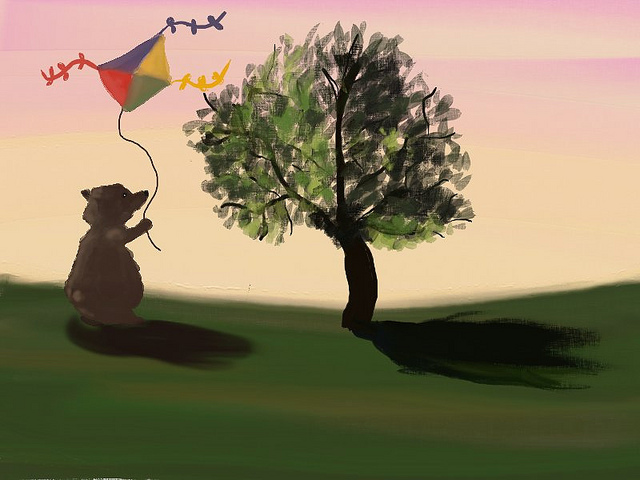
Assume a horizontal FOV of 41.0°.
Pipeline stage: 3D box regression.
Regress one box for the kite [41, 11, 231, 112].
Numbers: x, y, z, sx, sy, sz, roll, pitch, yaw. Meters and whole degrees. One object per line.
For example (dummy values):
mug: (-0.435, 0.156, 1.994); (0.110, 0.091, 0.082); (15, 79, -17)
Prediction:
kite: (-3.519, -3.138, 16.237); (3.452, 1.347, 1.114); (16, 13, -19)
